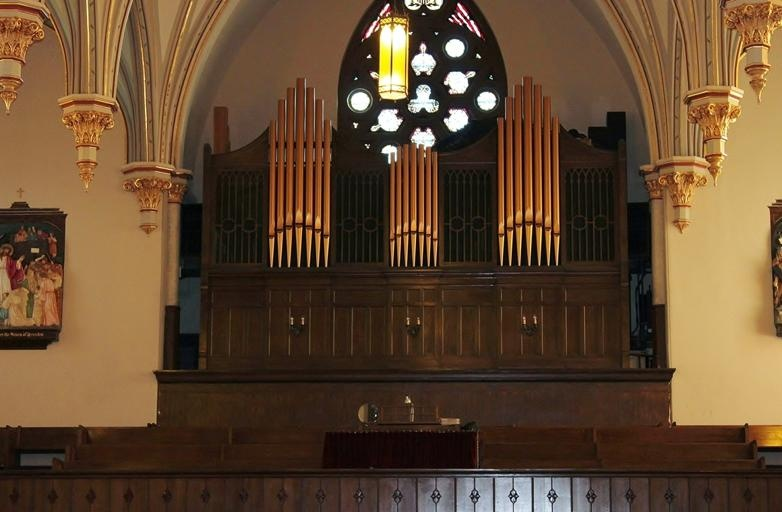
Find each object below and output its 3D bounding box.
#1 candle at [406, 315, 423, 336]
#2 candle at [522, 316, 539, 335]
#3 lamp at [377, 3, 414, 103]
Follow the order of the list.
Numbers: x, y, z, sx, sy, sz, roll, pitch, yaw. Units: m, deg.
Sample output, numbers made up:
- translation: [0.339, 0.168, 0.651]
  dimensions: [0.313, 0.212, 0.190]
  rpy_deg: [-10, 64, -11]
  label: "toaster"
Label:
- translation: [0.482, 1.545, 39.307]
  dimensions: [0.378, 0.385, 0.117]
  rpy_deg: [2, -19, -7]
  label: "candle"
- translation: [2.903, 1.537, 39.227]
  dimensions: [0.350, 0.463, 0.142]
  rpy_deg: [1, -24, 0]
  label: "candle"
- translation: [0.040, -3.461, 32.941]
  dimensions: [0.525, 1.558, 0.339]
  rpy_deg: [-1, -7, -7]
  label: "lamp"
